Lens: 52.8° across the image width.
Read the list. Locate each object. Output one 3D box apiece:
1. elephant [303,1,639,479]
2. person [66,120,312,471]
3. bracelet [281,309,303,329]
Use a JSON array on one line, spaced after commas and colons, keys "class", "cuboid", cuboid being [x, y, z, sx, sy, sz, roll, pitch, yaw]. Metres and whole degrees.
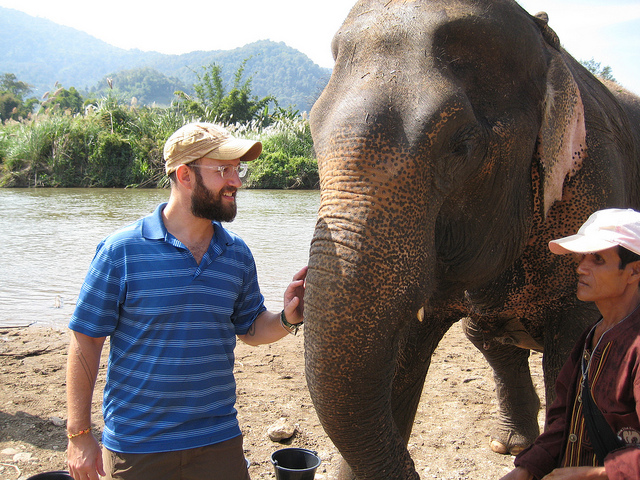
[{"class": "elephant", "cuboid": [0.574, -0.074, 2.759, 1.588, 1.933, 0.668, -1, 8, -41]}, {"class": "person", "cuboid": [-0.558, 0.232, 2.660, 0.875, 1.433, 0.411, 2, 7, -24]}, {"class": "bracelet", "cuboid": [-0.122, 0.334, 2.822, 0.087, 0.084, 0.153, 5, 6, -1]}]
